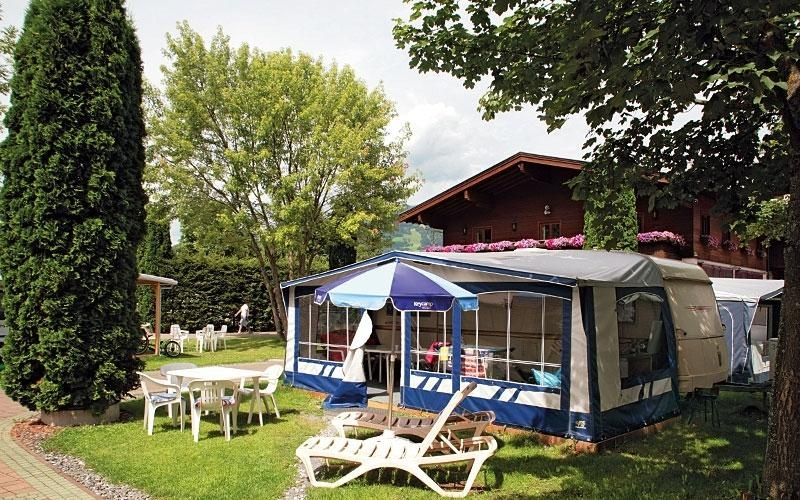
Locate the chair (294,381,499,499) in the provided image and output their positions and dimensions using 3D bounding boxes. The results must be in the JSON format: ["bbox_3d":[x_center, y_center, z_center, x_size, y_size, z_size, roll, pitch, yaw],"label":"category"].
[{"bbox_3d":[0.019,3.542,12.156,3.371,1.588,1.845,4,-7,5],"label":"chair"}]

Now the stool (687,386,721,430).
[{"bbox_3d":[6.935,3.626,15.042,0.712,1.084,0.760,-1,-17,14],"label":"stool"}]

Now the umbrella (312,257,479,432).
[{"bbox_3d":[-0.064,1.724,13.111,3.029,3.098,3.050,2,-3,-30],"label":"umbrella"}]

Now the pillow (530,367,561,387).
[{"bbox_3d":[3.039,2.606,13.468,0.415,0.333,0.170,11,30,34],"label":"pillow"}]
